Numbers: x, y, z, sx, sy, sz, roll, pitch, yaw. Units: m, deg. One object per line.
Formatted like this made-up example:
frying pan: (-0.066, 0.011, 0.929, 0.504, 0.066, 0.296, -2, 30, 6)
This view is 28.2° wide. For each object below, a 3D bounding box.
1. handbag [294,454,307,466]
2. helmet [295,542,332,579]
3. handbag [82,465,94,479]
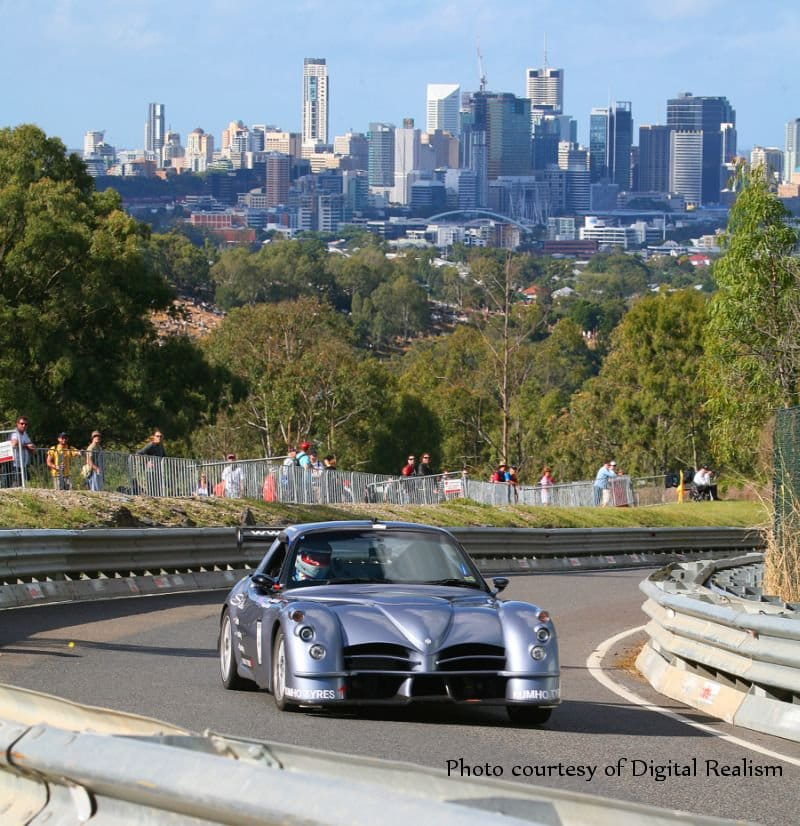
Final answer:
handbag: (-2.227, 1.079, 35.504, 0.241, 0.295, 0.258, 4, -7, -14)
helmet: (-0.566, 0.969, 10.320, 0.153, 0.217, 0.221, 7, 0, -11)
handbag: (-5.763, 1.101, 29.264, 0.171, 0.257, 0.086, 1, -5, -8)
